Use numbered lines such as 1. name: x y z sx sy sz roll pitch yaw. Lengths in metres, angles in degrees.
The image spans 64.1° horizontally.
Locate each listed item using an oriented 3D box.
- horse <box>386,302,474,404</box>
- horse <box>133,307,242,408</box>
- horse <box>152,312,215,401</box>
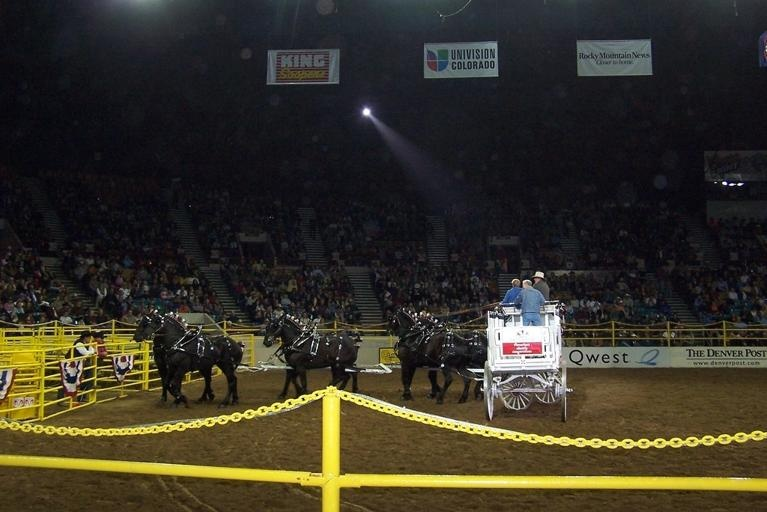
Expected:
1. horse: 1.657 3.320 21.872 1.395 2.972 4.865 -7 11 -4
2. horse: -6.569 3.463 20.283 1.425 2.722 4.154 -5 -14 16
3. horse: -6.482 3.220 19.637 1.753 2.882 0.836 0 -2 -19
